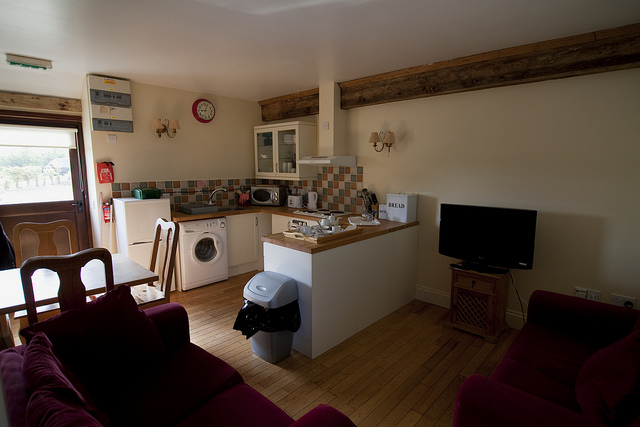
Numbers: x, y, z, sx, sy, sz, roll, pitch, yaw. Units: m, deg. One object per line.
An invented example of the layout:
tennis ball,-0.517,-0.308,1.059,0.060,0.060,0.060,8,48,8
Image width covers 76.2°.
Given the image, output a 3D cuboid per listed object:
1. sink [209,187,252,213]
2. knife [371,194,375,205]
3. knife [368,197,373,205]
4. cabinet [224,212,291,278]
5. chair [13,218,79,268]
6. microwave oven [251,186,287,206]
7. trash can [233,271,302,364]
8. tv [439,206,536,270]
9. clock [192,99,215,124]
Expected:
sink,-1.455,-0.183,6.190,0.452,0.284,0.454,9,10,42
knife,0.685,-0.185,5.376,0.027,0.152,0.021,-29,7,3
knife,0.654,-0.163,5.343,0.017,0.095,0.079,7,12,41
cabinet,-1.040,0.381,6.184,0.748,0.979,0.906,-4,13,-44
chair,-2.790,0.311,4.133,0.400,0.678,0.409,-5,14,-35
microwave oven,-0.827,-0.273,6.438,0.466,0.293,0.314,2,4,29
trash can,-0.544,1.020,4.180,0.586,0.887,0.633,-2,12,-42
tv,1.830,0.258,4.372,0.696,0.481,0.184,4,5,37
clock,-1.746,-1.512,6.023,0.113,0.339,0.345,2,14,39
